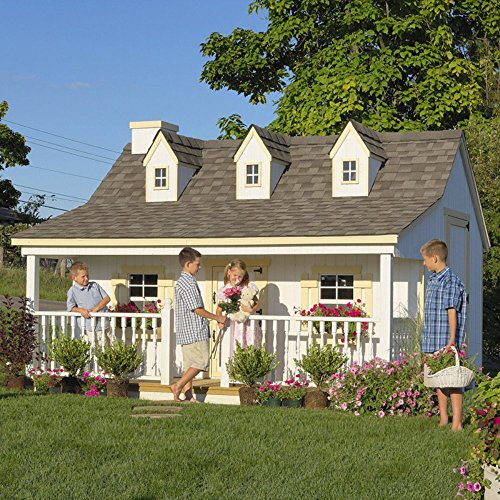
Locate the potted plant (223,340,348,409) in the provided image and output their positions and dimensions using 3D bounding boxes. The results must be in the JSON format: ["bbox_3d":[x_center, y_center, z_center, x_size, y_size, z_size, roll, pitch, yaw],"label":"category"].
[{"bbox_3d":[0.556,2.015,20.694,1.836,1.014,0.645,0,-9,4],"label":"potted plant"}]

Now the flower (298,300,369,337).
[{"bbox_3d":[1.492,1.193,22.533,1.148,0.762,2.039,1,-9,-4],"label":"flower"}]

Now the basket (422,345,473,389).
[{"bbox_3d":[2.823,1.608,18.368,0.597,0.585,0.616,0,-10,-15],"label":"basket"}]

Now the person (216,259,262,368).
[{"bbox_3d":[-0.193,1.234,21.230,0.652,2.110,0.581,-4,21,-8],"label":"person"}]

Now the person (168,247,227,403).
[{"bbox_3d":[-0.897,1.064,20.045,0.584,2.098,0.754,3,-9,-19],"label":"person"}]
